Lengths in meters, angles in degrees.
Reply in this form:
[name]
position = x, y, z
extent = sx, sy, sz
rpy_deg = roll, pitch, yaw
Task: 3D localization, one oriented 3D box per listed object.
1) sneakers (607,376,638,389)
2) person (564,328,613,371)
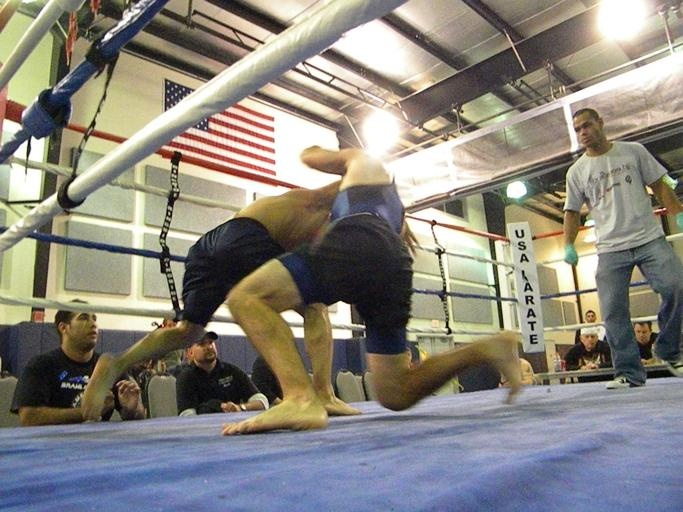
[sneakers]
position = 1.453, 0.655, 2.329
extent = 0.187, 0.069, 0.061
rpy_deg = -3, -13, 15
[person]
position = 2.919, 1.093, 5.294
extent = 0.565, 0.528, 0.760
rpy_deg = -3, -2, 30
